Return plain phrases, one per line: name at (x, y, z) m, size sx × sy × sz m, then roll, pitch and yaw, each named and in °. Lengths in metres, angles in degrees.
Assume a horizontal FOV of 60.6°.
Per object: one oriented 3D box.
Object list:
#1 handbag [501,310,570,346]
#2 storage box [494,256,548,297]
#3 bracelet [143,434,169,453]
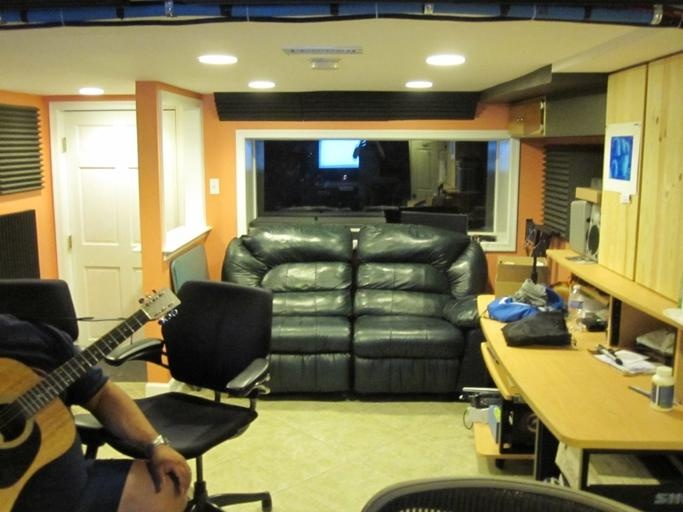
handbag at (1.038, 0.392, 3.115) m, size 0.229 × 0.070 × 0.222 m, roll -3°, pitch 10°, yaw 8°
storage box at (1.460, 0.143, 4.795) m, size 0.374 × 0.217 × 0.361 m, roll 0°, pitch 6°, yaw 6°
bracelet at (-0.756, 0.769, 2.414) m, size 0.079 × 0.054 × 0.084 m, roll -38°, pitch -18°, yaw -3°
